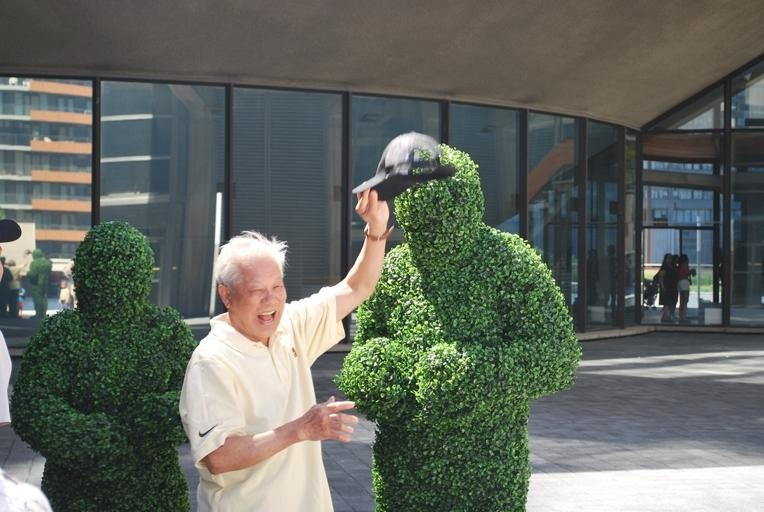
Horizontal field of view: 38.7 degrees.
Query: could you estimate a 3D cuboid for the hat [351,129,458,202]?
[{"bbox_3d":[0.221,-1.001,12.162,1.067,0.556,0.650,-10,-1,-9],"label":"hat"}]
